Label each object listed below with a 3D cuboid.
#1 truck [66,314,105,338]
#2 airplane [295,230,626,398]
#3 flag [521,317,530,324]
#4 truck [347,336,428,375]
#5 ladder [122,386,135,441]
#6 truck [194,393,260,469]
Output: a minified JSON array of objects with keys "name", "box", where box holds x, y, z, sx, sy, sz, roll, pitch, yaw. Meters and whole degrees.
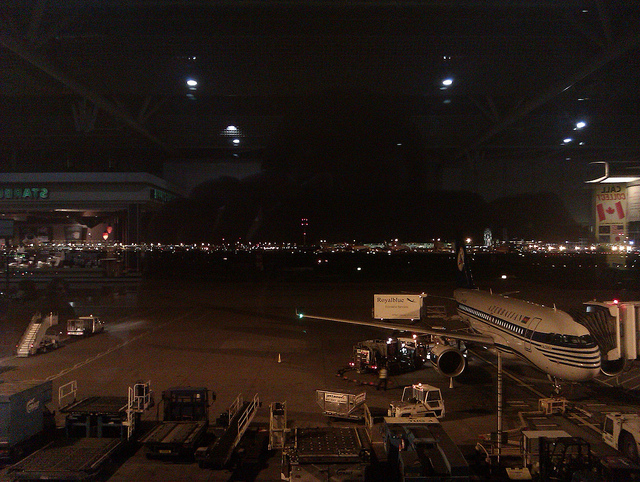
[{"name":"truck","box":[-21.965,8.003,65.237,1.952,1.352,2.695,1,4,9]},{"name":"airplane","box":[17.508,6.080,62.067,36.445,11.831,33.423,1,-1,-4]},{"name":"flag","box":[15.435,6.013,52.425,0.293,0.473,0.553,3,-4,-28]},{"name":"truck","box":[5.431,9.395,57.500,3.980,2.317,7.294,5,3,35]},{"name":"ladder","box":[-12.649,11.463,46.034,0.648,3.497,0.961,2,-3,-4]},{"name":"truck","box":[-6.101,12.477,45.664,3.355,4.159,5.492,1,-3,3]}]
